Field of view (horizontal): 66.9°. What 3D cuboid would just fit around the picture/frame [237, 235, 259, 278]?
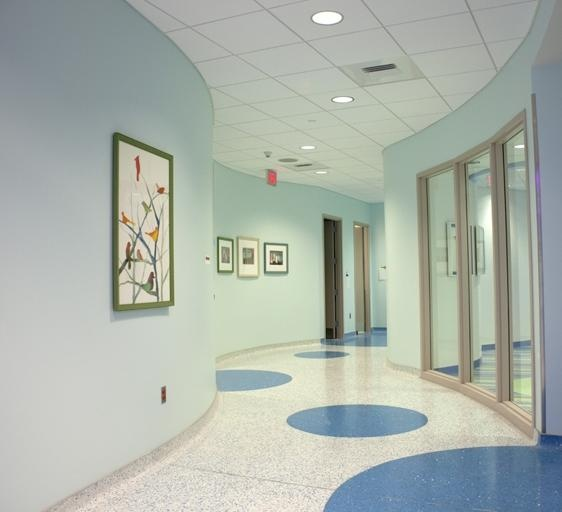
[{"bbox_3d":[-0.659,0.029,8.204,0.056,0.939,0.726,-5,-7,31],"label":"picture/frame"}]

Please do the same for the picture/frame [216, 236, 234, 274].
[{"bbox_3d":[-1.020,-0.010,7.583,0.041,0.617,0.592,-3,-7,23],"label":"picture/frame"}]

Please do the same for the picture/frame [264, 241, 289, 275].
[{"bbox_3d":[-0.133,0.052,8.840,0.044,0.600,0.643,-4,-6,36],"label":"picture/frame"}]
